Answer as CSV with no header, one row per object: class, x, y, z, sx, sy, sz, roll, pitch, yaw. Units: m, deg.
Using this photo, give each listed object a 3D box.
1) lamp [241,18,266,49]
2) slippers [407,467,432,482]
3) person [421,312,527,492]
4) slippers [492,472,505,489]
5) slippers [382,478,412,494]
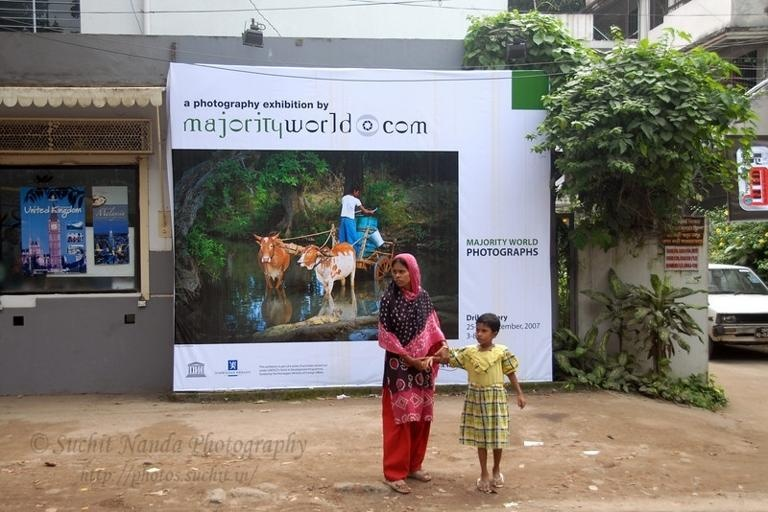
lamp,-2.409,-4.123,18.319,0.386,0.469,0.488,-1,0,-8
slippers,0.548,3.224,14.705,0.152,0.115,0.284,1,-4,-45
person,1.491,2.137,14.627,1.150,1.912,0.478,-1,0,8
slippers,1.687,3.292,14.602,0.158,0.177,0.475,-1,-8,3
slippers,0.241,3.332,14.458,0.162,0.145,0.337,5,-8,-42
